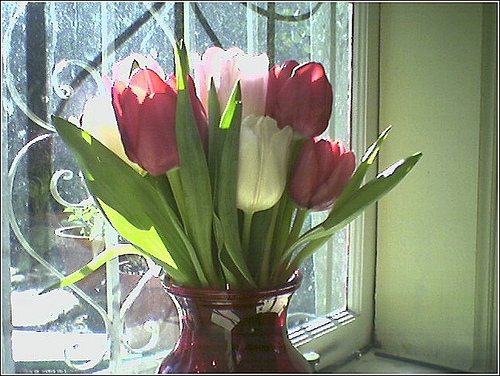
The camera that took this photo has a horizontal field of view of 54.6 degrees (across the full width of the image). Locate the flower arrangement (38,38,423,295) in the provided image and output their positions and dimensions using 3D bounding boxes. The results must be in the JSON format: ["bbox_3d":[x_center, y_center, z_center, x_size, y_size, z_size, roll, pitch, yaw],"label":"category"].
[{"bbox_3d":[-0.009,-0.046,0.555,0.283,0.292,0.310,-7,-8,42],"label":"flower arrangement"}]
